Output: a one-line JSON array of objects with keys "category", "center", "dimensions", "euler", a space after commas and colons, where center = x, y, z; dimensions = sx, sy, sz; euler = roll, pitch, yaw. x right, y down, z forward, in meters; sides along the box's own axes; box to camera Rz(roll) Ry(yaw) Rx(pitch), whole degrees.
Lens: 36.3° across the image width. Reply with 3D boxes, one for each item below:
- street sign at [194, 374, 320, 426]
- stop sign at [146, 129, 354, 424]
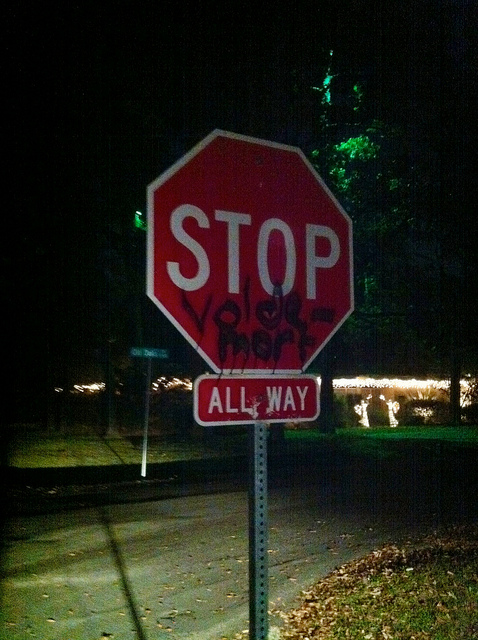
[{"category": "street sign", "center": [0.110, 0.387, 3.570], "dimensions": [0.707, 0.265, 0.154], "euler": [0, -2, -30]}, {"category": "stop sign", "center": [0.081, -0.192, 3.549], "dimensions": [1.022, 1.545, 0.052], "euler": [5, -25, -12]}]
